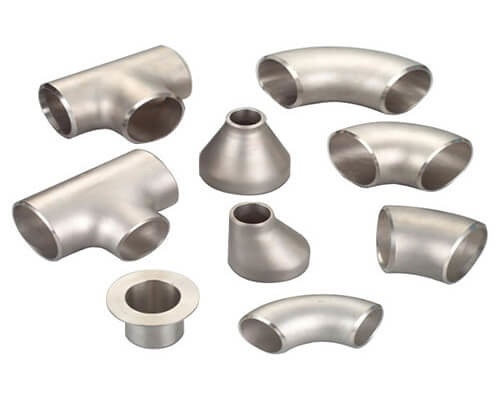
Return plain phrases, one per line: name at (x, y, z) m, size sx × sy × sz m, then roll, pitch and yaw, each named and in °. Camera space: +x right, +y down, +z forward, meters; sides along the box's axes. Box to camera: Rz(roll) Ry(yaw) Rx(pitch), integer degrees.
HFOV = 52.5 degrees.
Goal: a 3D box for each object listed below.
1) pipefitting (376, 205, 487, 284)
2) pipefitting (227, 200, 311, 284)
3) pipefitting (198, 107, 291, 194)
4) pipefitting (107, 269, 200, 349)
pipefitting at (1.012, 0.273, 2.896) m, size 0.612 × 0.411 × 0.389 m, roll 11°, pitch 23°, yaw 16°
pipefitting at (0.120, 0.213, 2.880) m, size 0.491 × 0.442 × 0.323 m, roll -7°, pitch -56°, yaw -14°
pipefitting at (-0.014, -0.202, 3.257) m, size 0.603 × 0.578 × 0.358 m, roll 1°, pitch -44°, yaw 1°
pipefitting at (-0.478, 0.530, 2.503) m, size 0.454 × 0.394 × 0.410 m, roll 7°, pitch -16°, yaw 6°
